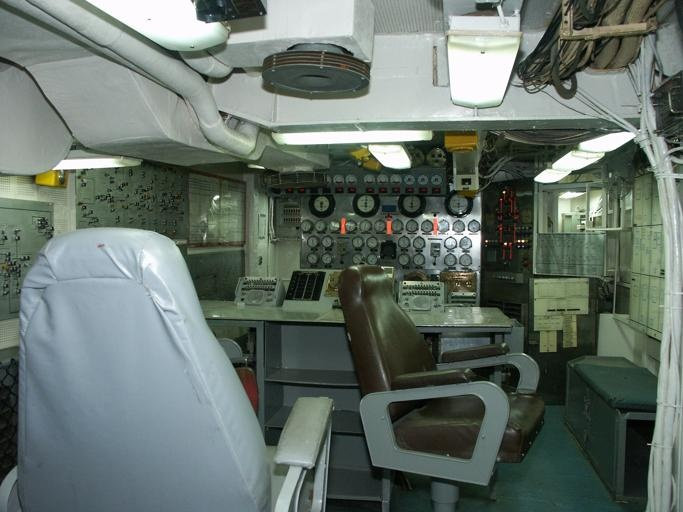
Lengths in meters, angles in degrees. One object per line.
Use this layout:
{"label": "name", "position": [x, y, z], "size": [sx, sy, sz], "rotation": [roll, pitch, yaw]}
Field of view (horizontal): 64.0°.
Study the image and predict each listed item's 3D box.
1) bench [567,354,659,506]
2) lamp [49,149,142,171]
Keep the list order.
{"label": "bench", "position": [1.868, 1.230, 3.765], "size": [0.366, 0.494, 0.928], "rotation": [1, 5, 11]}
{"label": "lamp", "position": [-1.951, -0.744, 4.251], "size": [0.623, 0.098, 0.440], "rotation": [1, 3, 11]}
